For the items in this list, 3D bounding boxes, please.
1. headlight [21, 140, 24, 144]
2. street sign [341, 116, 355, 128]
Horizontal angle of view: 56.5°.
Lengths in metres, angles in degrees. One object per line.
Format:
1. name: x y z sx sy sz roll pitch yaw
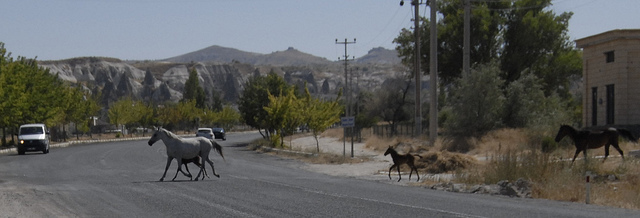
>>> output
1. headlight: -66.177 7.288 132.213 0.672 0.524 0.137 -10 6 -2
2. street sign: 5.863 2.722 126.316 3.397 1.940 0.407 -1 8 4
